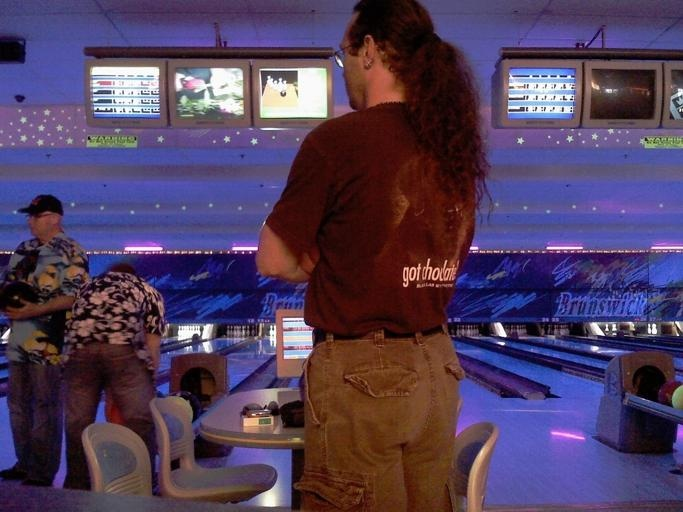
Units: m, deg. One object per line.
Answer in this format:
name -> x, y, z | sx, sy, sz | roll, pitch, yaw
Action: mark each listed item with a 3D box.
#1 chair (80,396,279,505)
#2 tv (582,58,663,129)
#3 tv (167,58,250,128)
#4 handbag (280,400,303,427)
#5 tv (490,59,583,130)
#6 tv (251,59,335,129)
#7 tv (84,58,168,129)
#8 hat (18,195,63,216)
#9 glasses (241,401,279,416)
chair -> -0.816, 0.856, 3.272 | 0.673, 0.346, 0.828 | -2, -6, 8
tv -> 1.938, -1.135, 4.420 | 0.508, 0.403, 0.263 | 1, 2, 2
tv -> -0.920, -1.155, 4.428 | 0.521, 0.401, 0.066 | 0, -2, 0
handbag -> -0.237, 0.768, 3.121 | 0.113, 0.047, 0.115 | -10, 2, 4
tv -> 1.388, -1.116, 4.625 | 0.511, 0.364, 0.495 | 1, -1, 6
tv -> -0.271, -1.090, 4.573 | 0.797, 0.606, 0.417 | 0, 5, 1
tv -> -1.450, -1.098, 4.616 | 0.728, 0.578, 0.403 | 0, -1, -1
hat -> -2.017, -0.339, 4.357 | 0.284, 0.156, 0.181 | 6, -1, -22
glasses -> -0.405, 0.774, 3.255 | 0.131, 0.048, 0.093 | 3, -2, -15
